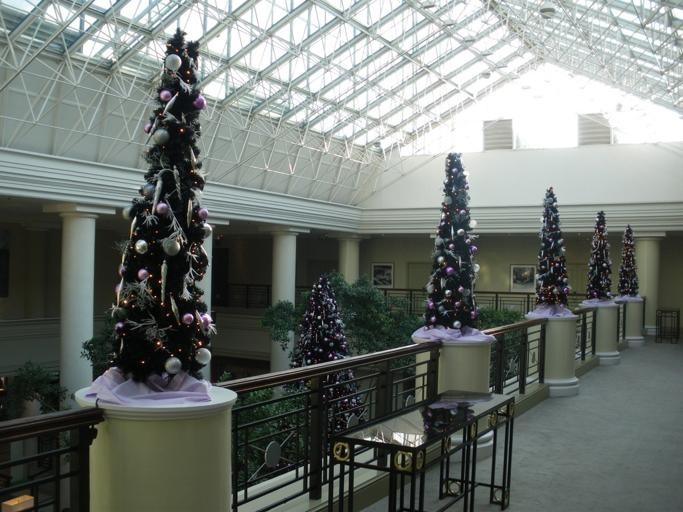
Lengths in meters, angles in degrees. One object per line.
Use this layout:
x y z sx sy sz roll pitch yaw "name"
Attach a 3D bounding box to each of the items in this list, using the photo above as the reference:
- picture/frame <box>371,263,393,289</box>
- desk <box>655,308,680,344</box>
2.406 1.102 30.233 1.350 1.550 0.105 6 6 24 "picture/frame"
12.257 2.585 19.492 0.703 1.021 1.411 1 1 21 "desk"
